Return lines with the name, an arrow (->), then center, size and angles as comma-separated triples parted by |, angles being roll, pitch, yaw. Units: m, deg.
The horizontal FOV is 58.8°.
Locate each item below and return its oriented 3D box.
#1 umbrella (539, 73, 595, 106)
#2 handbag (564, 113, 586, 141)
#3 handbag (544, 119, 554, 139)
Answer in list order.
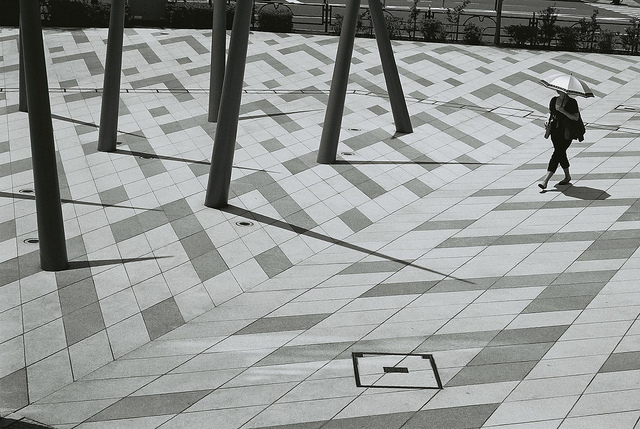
umbrella -> 5.415, -2.847, 12.574 | 1.059, 0.562, 0.883 | 10, 13, -32
handbag -> 5.623, -1.893, 12.612 | 0.456, 0.487, 0.247 | 9, 25, 12
handbag -> 5.118, -1.921, 12.725 | 0.129, 0.411, 0.392 | 14, 25, 19
